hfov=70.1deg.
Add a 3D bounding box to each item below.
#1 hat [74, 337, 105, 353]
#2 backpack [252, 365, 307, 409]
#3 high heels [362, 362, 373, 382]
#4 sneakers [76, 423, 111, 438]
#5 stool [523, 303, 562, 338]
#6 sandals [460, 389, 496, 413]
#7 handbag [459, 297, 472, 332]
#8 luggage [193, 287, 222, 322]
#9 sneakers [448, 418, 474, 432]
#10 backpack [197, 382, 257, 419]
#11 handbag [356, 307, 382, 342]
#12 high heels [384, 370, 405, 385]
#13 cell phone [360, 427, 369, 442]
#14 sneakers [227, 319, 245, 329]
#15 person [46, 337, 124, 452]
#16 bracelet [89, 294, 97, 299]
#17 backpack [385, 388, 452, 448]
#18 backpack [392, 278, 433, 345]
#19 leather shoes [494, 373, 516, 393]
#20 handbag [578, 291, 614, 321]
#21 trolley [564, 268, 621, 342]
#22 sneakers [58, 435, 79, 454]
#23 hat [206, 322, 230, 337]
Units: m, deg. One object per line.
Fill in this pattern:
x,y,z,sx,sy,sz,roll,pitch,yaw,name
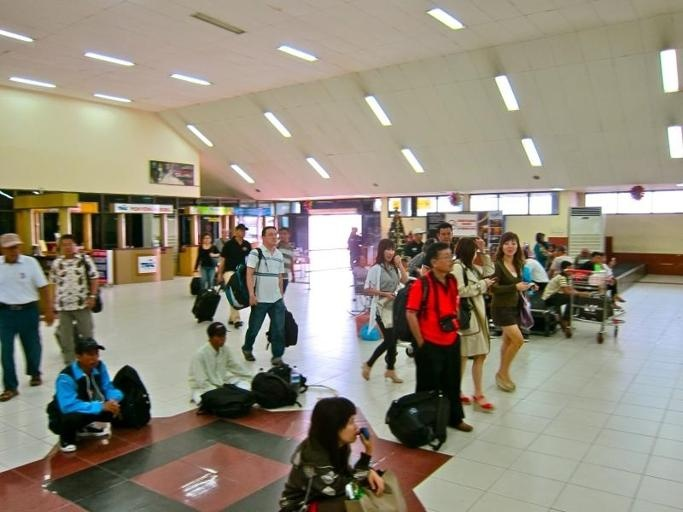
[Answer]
-2.535,0.891,4.826,0.229,0.166,0.360,-5,2,-29,hat
-0.696,1.523,5.580,0.380,0.206,0.513,3,1,44,backpack
0.320,1.481,6.164,0.121,0.241,0.093,2,-16,-13,high heels
-2.487,1.763,4.883,0.320,0.117,0.116,6,-8,-13,sneakers
3.735,1.177,8.884,0.870,0.426,0.571,2,7,17,stool
1.532,1.655,5.487,0.155,0.105,0.403,3,-2,-42,sandals
1.309,0.644,5.109,0.134,0.388,0.389,-5,2,14,handbag
-2.774,0.969,9.679,0.483,0.681,0.416,2,19,-37,luggage
1.201,1.717,4.948,0.301,0.196,0.099,-1,2,6,sneakers
-1.240,1.575,5.224,0.394,0.146,0.387,3,0,31,backpack
0.434,1.232,8.583,0.599,0.548,0.560,-5,-7,2,handbag
0.653,1.548,6.201,0.300,0.165,0.108,-1,3,4,high heels
0.150,1.280,3.483,0.037,0.074,0.098,-36,-2,-15,cell phone
-2.067,1.317,9.359,0.121,0.122,0.319,1,-2,-43,sneakers
-2.520,1.312,4.765,0.652,1.108,0.424,-7,3,-38,person
-3.365,0.556,6.556,0.034,0.055,0.104,-4,2,29,bracelet
0.697,1.606,4.721,0.468,0.549,0.615,-13,20,16,backpack
0.699,0.553,4.973,0.345,0.467,0.692,-5,2,0,backpack
2.022,1.597,6.056,0.155,0.106,0.278,7,-8,-28,leather shoes
4.590,0.925,8.790,0.564,0.308,0.573,-1,1,41,handbag
4.680,0.893,9.034,0.837,1.206,1.415,4,4,33,trolley
-2.578,1.775,4.540,0.245,0.093,0.090,-4,-6,40,sneakers
-1.413,0.839,5.531,0.271,0.142,0.186,-7,9,-29,hat
